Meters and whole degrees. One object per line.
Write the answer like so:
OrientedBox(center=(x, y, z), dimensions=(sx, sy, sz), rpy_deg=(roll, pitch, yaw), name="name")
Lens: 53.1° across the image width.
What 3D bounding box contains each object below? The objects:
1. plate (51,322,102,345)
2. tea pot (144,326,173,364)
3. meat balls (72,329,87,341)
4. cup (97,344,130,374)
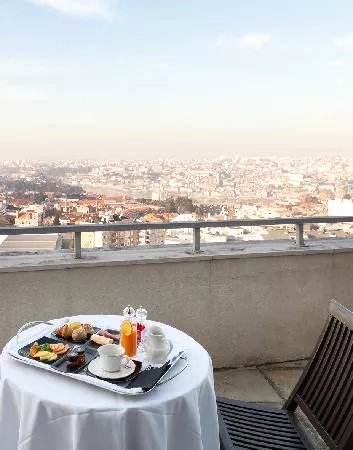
OrientedBox(center=(-0.337, 0.343, 1.150), dimensions=(0.074, 0.022, 0.072), rpy_deg=(6, 9, 23), name="plate")
OrientedBox(center=(-0.061, 0.344, 1.031), dimensions=(0.066, 0.090, 0.102), rpy_deg=(-1, 8, -16), name="tea pot")
OrientedBox(center=(-0.308, 0.349, 1.117), dimensions=(0.037, 0.022, 0.036), rpy_deg=(9, 17, -3), name="meat balls")
OrientedBox(center=(-0.172, 0.344, 0.919), dimensions=(0.061, 0.041, 0.065), rpy_deg=(2, -3, 0), name="cup")
